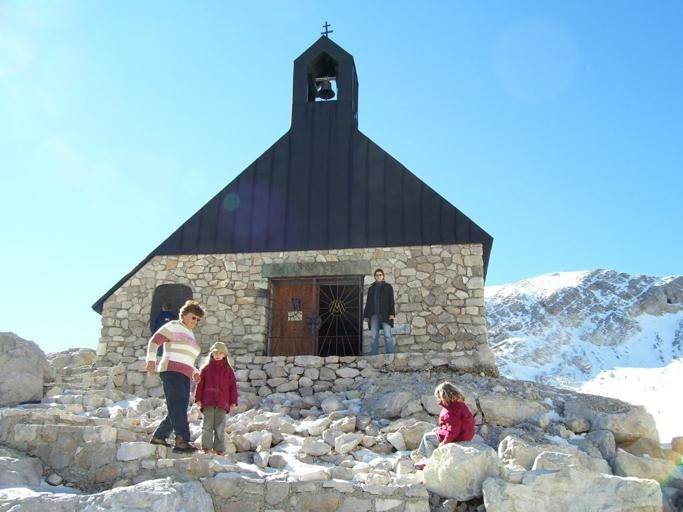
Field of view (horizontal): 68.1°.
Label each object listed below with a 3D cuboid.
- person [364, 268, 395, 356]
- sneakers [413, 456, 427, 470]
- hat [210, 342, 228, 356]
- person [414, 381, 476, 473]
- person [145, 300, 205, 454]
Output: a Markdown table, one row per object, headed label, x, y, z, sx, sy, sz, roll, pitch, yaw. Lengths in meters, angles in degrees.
| label | x | y | z | sx | sy | sz | roll | pitch | yaw |
| --- | --- | --- | --- | --- | --- | --- | --- | --- | --- |
| person | 0.807 | 1.265 | 10.826 | 0.721 | 1.636 | 0.598 | 4 | 8 | 13 |
| sneakers | 0.949 | 2.497 | 6.097 | 0.097 | 0.080 | 0.236 | -38 | 3 | 7 |
| hat | -1.521 | 1.127 | 6.288 | 0.241 | 0.185 | 0.353 | 4 | -8 | -5 |
| person | 1.274 | 2.068 | 6.182 | 0.639 | 1.033 | 0.664 | 1 | -4 | 19 |
| person | -1.921 | 1.361 | 5.836 | 0.573 | 1.594 | 0.663 | 0 | 8 | -16 |
